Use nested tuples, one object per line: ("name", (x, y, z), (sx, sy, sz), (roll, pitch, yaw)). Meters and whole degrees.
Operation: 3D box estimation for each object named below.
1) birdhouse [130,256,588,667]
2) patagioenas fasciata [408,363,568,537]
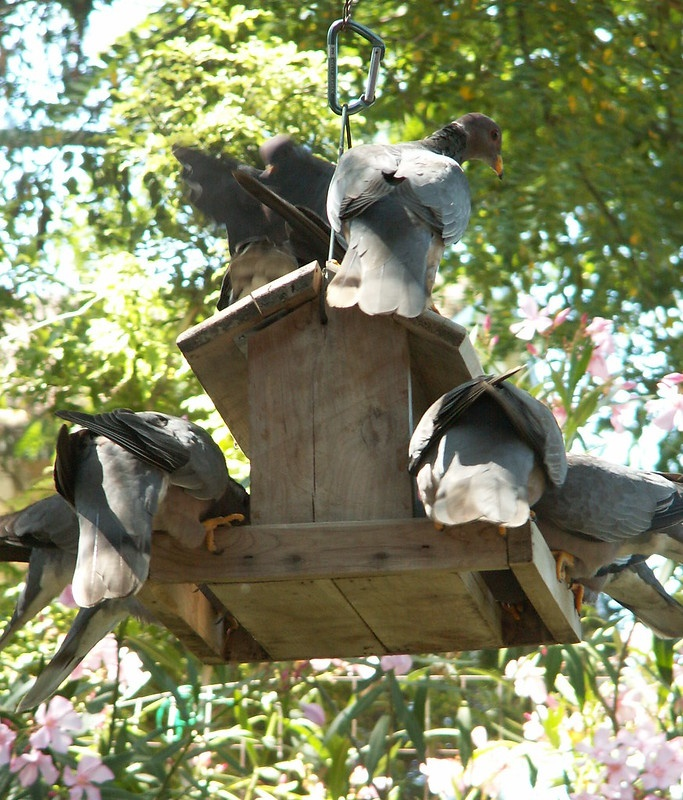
("birdhouse", (0.150, 0.372, 8.068), (1.647, 1.090, 2.089), (-3, -10, 15))
("patagioenas fasciata", (0.516, 0.194, 7.332), (0.391, 0.689, 0.290), (-1, -47, 11))
